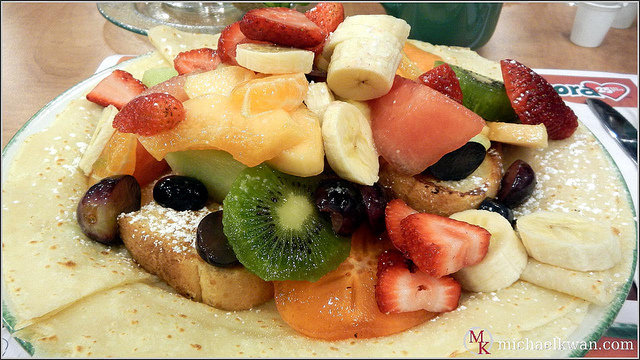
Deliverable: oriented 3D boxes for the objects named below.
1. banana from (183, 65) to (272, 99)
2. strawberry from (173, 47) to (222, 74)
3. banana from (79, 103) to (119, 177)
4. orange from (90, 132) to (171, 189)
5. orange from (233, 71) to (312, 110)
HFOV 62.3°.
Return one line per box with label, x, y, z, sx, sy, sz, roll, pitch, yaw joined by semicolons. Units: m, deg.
banana;-0.445;-0.439;2.345;0.230;0.059;0.234;13;25;20
strawberry;-0.593;-0.574;2.635;0.230;0.057;0.126;-12;61;-1
banana;-1.035;-0.173;2.495;0.185;0.100;0.345;34;97;44
orange;-0.894;-0.065;2.440;0.275;0.163;0.264;36;73;14
orange;-0.190;-0.369;2.224;0.283;0.097;0.158;1;72;-11
